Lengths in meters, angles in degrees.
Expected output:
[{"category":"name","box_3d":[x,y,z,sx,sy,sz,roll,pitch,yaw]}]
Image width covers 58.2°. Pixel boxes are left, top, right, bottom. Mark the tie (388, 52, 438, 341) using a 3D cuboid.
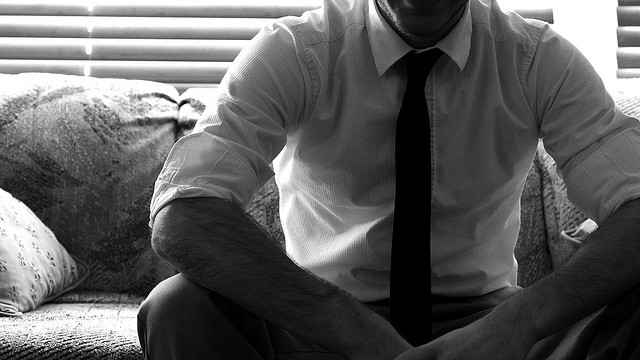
[{"category":"tie","box_3d":[0.268,0.034,1.691,0.219,0.874,0.021,0,-1,2]}]
